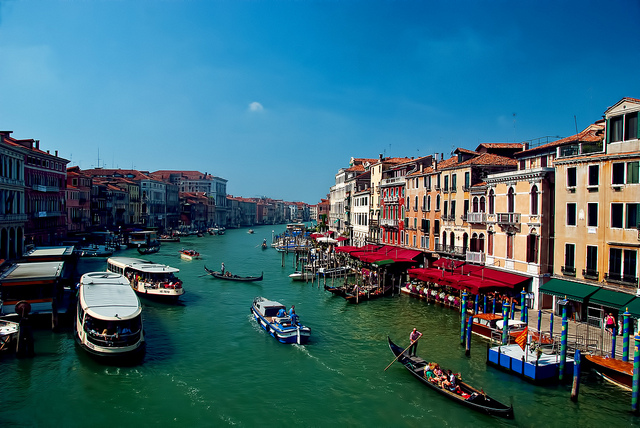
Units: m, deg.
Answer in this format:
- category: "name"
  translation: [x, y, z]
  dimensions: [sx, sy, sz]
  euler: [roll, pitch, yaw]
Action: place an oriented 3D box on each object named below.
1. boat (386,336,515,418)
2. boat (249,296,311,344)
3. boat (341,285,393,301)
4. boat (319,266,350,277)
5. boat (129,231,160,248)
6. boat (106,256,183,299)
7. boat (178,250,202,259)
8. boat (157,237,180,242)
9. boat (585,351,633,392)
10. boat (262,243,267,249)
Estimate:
- category: "boat"
  translation: [11.295, 14.938, 49.056]
  dimensions: [10.229, 2.450, 1.767]
  euler: [0, 0, 43]
- category: "boat"
  translation: [-4.880, 11.508, 61.800]
  dimensions: [3.926, 2.674, 10.848]
  euler: [2, 6, -29]
- category: "boat"
  translation: [6.308, 10.224, 73.168]
  dimensions: [6.812, 1.656, 3.892]
  euler: [1, 0, -9]
- category: "boat"
  translation: [1.805, 9.217, 90.213]
  dimensions: [6.948, 1.686, 1.717]
  euler: [-1, -7, -20]
- category: "boat"
  translation: [-38.815, 4.908, 123.714]
  dimensions: [4.036, 2.853, 5.857]
  euler: [0, -5, 1]
- category: "boat"
  translation: [-23.808, 8.115, 74.623]
  dimensions: [15.560, 3.665, 5.129]
  euler: [10, 11, 42]
- category: "boat"
  translation: [-24.821, 7.913, 109.246]
  dimensions: [3.518, 1.431, 4.903]
  euler: [0, 0, 14]
- category: "boat"
  translation: [-39.372, 6.821, 145.904]
  dimensions: [6.110, 1.032, 1.325]
  euler: [-2, -6, -11]
- category: "boat"
  translation: [25.075, 13.687, 49.697]
  dimensions: [1.837, 1.434, 3.718]
  euler: [1, 5, -25]
- category: "boat"
  translation: [-13.756, 7.993, 138.393]
  dimensions: [1.385, 2.207, 4.130]
  euler: [0, -1, -5]
